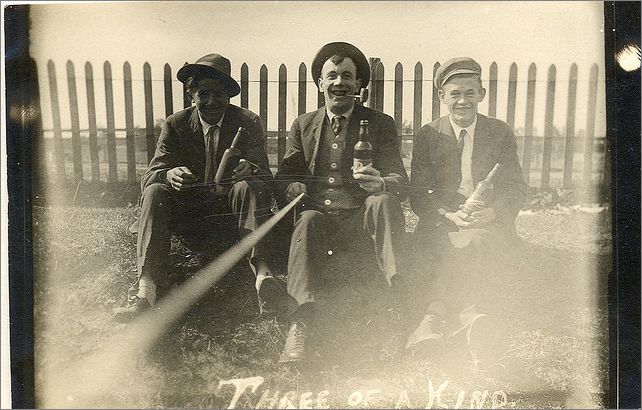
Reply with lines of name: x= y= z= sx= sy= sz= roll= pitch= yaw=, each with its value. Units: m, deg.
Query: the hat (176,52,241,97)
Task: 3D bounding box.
hat: x=-0.832 y=-1.101 z=5.563 sx=0.454 sy=0.168 sz=0.391 roll=12 pitch=11 yaw=-5

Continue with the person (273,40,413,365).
person: x=0.152 y=-0.034 z=5.440 sx=1.005 sy=2.398 sz=0.343 roll=-3 pitch=8 yaw=5

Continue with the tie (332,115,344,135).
tie: x=0.124 y=-0.608 z=5.441 sx=0.089 sy=0.145 sz=0.035 roll=5 pitch=8 yaw=0

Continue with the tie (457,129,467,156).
tie: x=1.080 y=-0.490 z=5.488 sx=0.045 sy=0.187 sz=0.030 roll=6 pitch=1 yaw=-4

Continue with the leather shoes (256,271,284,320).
leather shoes: x=-0.394 y=0.702 z=5.549 sx=0.195 sy=0.355 sz=0.153 roll=-11 pitch=2 yaw=-1

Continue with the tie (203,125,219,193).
tie: x=-0.836 y=-0.394 z=5.471 sx=0.147 sy=0.429 sz=0.055 roll=-5 pitch=8 yaw=-13

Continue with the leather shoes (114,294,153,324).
leather shoes: x=-1.451 y=0.796 z=5.571 sx=0.261 sy=0.179 sz=0.101 roll=-45 pitch=-2 yaw=4
